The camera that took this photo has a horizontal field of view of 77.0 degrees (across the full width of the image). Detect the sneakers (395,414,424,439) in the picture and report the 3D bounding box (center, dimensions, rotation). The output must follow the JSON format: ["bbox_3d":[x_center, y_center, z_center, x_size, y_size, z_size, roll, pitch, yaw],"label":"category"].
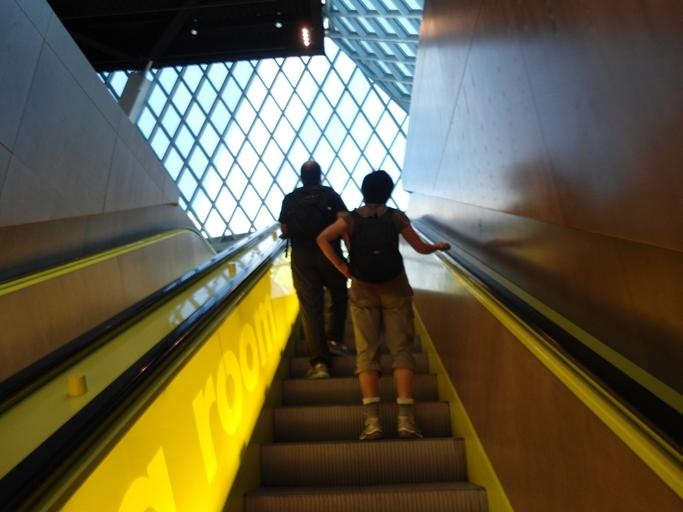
[{"bbox_3d":[0.397,1.015,2.583,0.075,0.231,0.111,-4,-100,15],"label":"sneakers"}]

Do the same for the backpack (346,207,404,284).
[{"bbox_3d":[0.240,-0.039,2.914,0.401,0.336,0.659,-2,-86,17],"label":"backpack"}]

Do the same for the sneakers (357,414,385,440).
[{"bbox_3d":[0.168,1.054,2.649,0.075,0.174,0.232,3,-22,-8],"label":"sneakers"}]

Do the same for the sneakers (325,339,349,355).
[{"bbox_3d":[-0.042,0.834,3.931,0.251,0.130,0.081,30,-24,-37],"label":"sneakers"}]
